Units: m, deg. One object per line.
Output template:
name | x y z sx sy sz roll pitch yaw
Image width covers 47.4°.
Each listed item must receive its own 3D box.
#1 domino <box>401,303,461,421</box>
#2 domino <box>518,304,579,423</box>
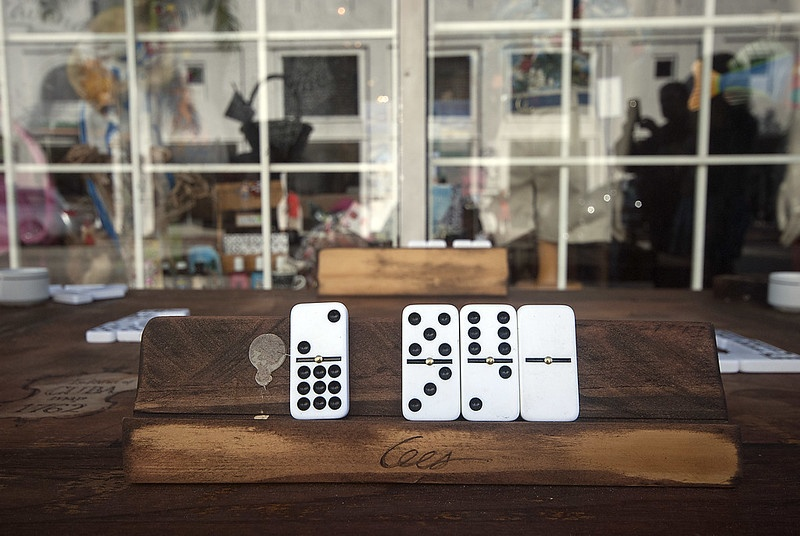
domino | 0.077 0.226 2.142 0.136 0.262 0.080 -1 12 4
domino | 0.350 0.225 2.139 0.144 0.262 0.087 0 13 7
